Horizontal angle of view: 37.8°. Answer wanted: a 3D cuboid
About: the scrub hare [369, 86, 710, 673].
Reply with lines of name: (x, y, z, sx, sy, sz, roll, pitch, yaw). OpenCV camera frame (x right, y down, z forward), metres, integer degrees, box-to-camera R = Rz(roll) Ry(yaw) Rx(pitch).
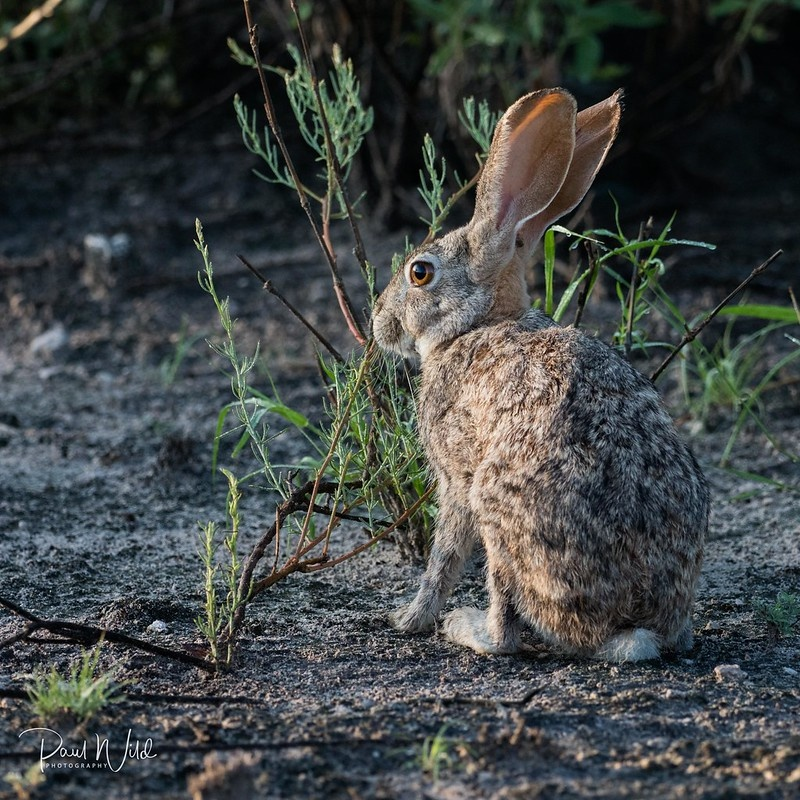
scrub hare: (0.472, -0.113, 3.896, 0.971, 1.827, 1.111, -1, 15, -13)
